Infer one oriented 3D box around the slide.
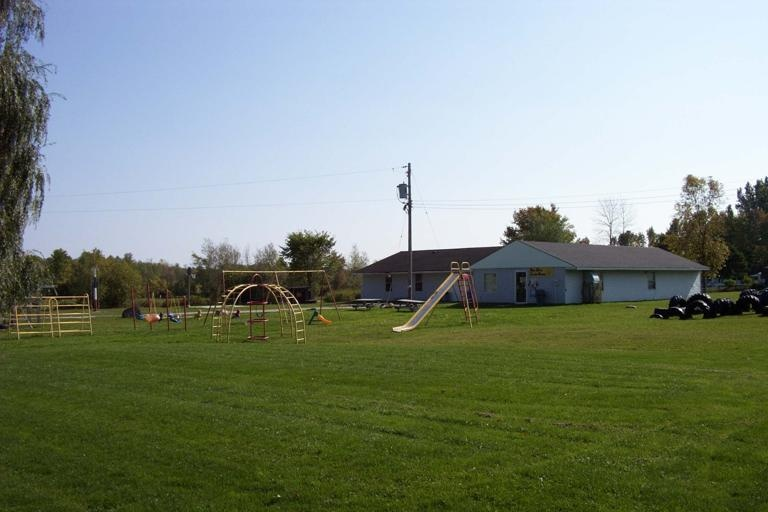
[{"bbox_3d":[2.003,2.091,27.700,3.210,2.091,0.571,-22,34,-18],"label":"slide"}]
